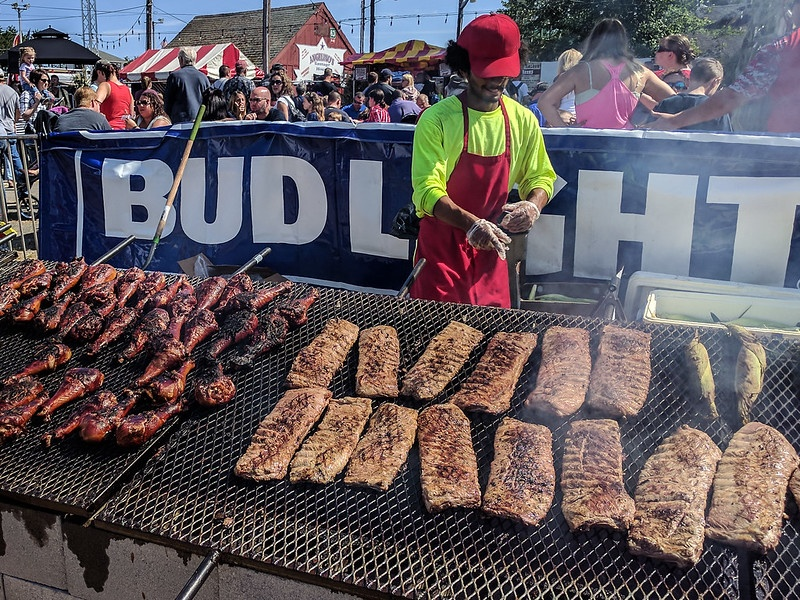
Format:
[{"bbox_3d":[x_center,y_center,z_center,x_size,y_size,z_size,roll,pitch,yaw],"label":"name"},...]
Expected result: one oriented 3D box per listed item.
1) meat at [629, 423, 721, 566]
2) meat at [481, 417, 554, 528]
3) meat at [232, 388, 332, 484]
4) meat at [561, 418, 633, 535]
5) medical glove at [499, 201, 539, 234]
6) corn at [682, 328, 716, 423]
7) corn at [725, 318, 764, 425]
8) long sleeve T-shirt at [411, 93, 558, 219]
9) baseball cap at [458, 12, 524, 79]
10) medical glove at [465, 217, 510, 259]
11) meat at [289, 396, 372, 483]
[{"bbox_3d":[1.148,0.787,2.782,0.302,0.132,0.683,-2,35,38],"label":"meat"},{"bbox_3d":[0.525,0.724,2.874,0.287,0.111,0.544,-1,34,19],"label":"meat"},{"bbox_3d":[-0.511,0.588,2.973,0.206,0.078,0.431,8,42,20],"label":"meat"},{"bbox_3d":[0.826,0.732,2.833,0.280,0.133,0.562,-5,34,16],"label":"meat"},{"bbox_3d":[0.702,-0.468,3.948,0.162,0.103,0.218,44,95,15],"label":"medical glove"},{"bbox_3d":[1.359,0.367,3.056,0.119,0.113,0.454,-13,52,25],"label":"corn"},{"bbox_3d":[1.565,0.330,3.047,0.186,0.098,0.497,12,56,14],"label":"corn"},{"bbox_3d":[0.567,-0.865,4.272,0.863,0.891,0.492,-2,50,1],"label":"long sleeve T-shirt"},{"bbox_3d":[0.577,-1.511,3.919,0.299,0.186,0.494,3,45,-5],"label":"baseball cap"},{"bbox_3d":[0.494,-0.331,3.821,0.187,0.067,0.250,-37,83,-7],"label":"medical glove"},{"bbox_3d":[-0.301,0.630,3.004,0.242,0.078,0.561,-3,27,21],"label":"meat"}]
